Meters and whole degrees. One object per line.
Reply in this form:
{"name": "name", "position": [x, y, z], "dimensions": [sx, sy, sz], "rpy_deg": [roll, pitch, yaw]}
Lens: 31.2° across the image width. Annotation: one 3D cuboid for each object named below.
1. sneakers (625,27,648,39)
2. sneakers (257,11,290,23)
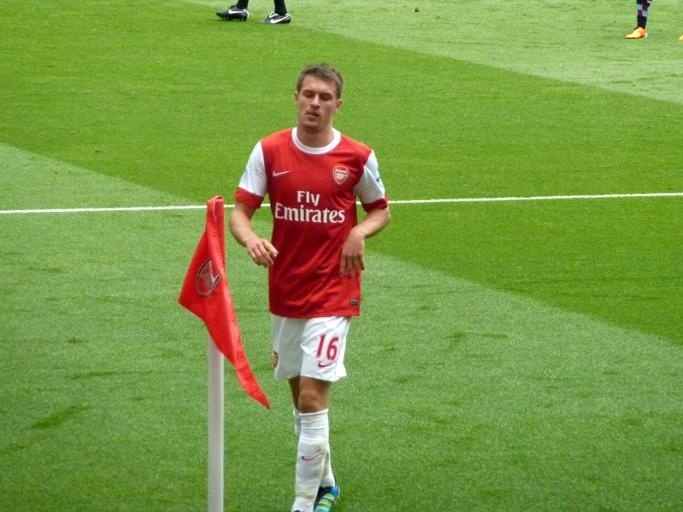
{"name": "sneakers", "position": [4.302, -3.275, 17.788], "dimensions": [0.380, 0.150, 0.133], "rpy_deg": [-11, 19, -37]}
{"name": "sneakers", "position": [-0.947, -3.397, 17.267], "dimensions": [0.418, 0.161, 0.142], "rpy_deg": [0, 7, -9]}
